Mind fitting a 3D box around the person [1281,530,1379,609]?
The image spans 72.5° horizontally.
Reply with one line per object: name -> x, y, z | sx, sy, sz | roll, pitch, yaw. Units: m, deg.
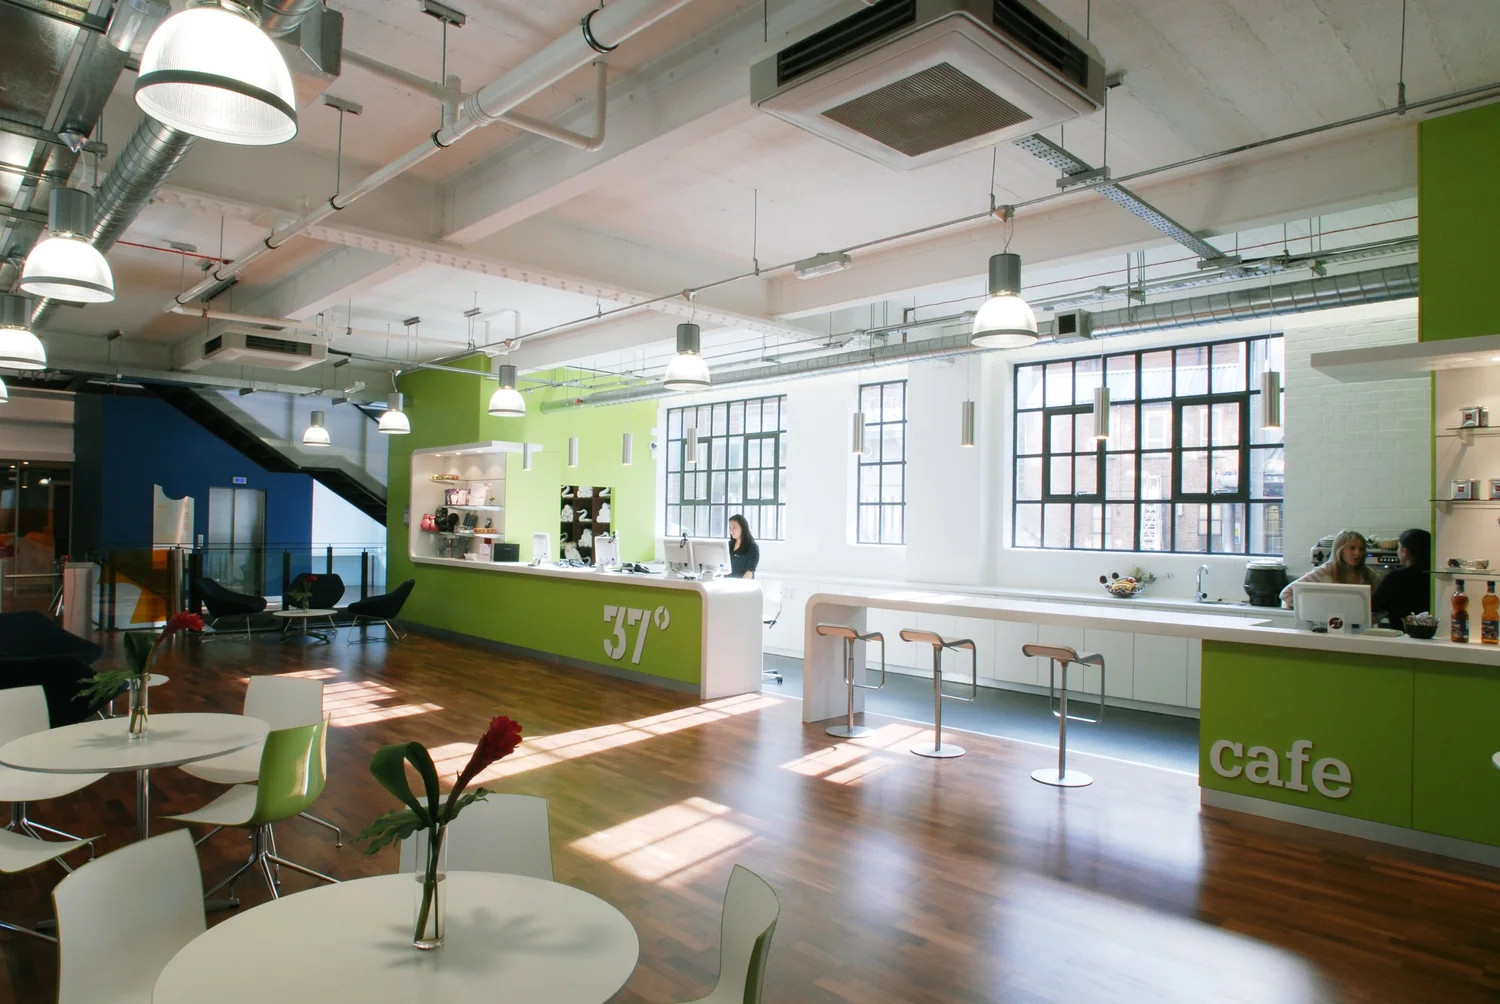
person -> 5.045, 0.542, 8.743 | 0.267, 0.834, 0.941 | 3, -6, -28

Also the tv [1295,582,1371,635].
tv -> 4.389, 0.816, 7.680 | 0.378, 0.280, 0.138 | 0, -2, 34

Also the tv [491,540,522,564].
tv -> -3.307, 0.718, 14.129 | 0.465, 0.401, 0.244 | 3, -5, -30

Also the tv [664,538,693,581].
tv -> -0.760, 0.689, 11.983 | 0.404, 0.439, 0.480 | -1, -2, -40

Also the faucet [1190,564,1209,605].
faucet -> 4.971, 0.893, 11.202 | 0.154, 0.381, 0.202 | 4, 10, 20
